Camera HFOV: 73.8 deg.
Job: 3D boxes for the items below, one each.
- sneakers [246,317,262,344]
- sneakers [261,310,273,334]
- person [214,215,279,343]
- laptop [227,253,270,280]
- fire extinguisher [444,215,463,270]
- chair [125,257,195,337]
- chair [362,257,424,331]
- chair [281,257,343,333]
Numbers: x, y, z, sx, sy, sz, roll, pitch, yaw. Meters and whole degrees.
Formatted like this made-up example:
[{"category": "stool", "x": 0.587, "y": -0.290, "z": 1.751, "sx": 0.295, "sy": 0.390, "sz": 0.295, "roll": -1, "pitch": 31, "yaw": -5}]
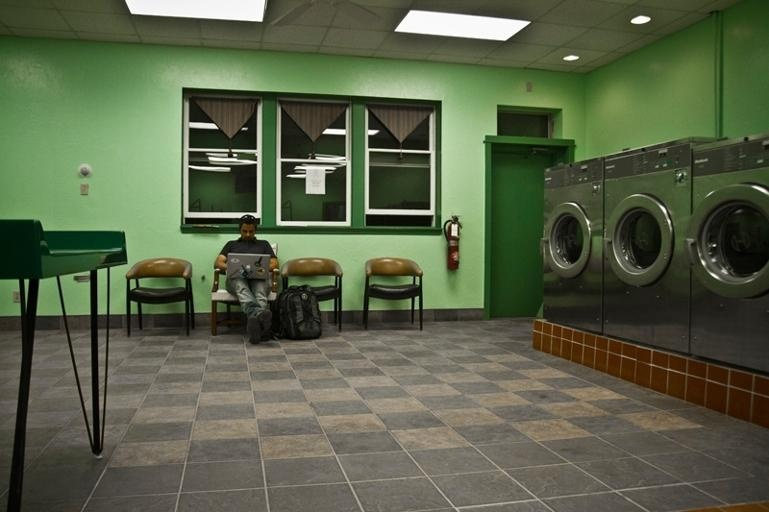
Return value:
[{"category": "sneakers", "x": -1.549, "y": 0.876, "z": 6.070, "sx": 0.168, "sy": 0.304, "sz": 0.124, "roll": 2, "pitch": 3, "yaw": -3}, {"category": "sneakers", "x": -1.438, "y": 0.776, "z": 6.084, "sx": 0.100, "sy": 0.281, "sz": 0.193, "roll": 4, "pitch": 3, "yaw": -22}, {"category": "person", "x": -1.692, "y": 0.273, "z": 6.464, "sx": 0.753, "sy": 1.061, "sz": 1.765, "roll": -1, "pitch": 19, "yaw": -16}, {"category": "laptop", "x": -1.708, "y": 0.142, "z": 6.400, "sx": 0.484, "sy": 0.319, "sz": 0.336, "roll": 2, "pitch": 13, "yaw": -11}, {"category": "fire extinguisher", "x": 1.023, "y": -0.183, "z": 7.683, "sx": 0.309, "sy": 0.820, "sz": 0.196, "roll": -1, "pitch": 7, "yaw": -11}, {"category": "chair", "x": -2.884, "y": 0.507, "z": 6.643, "sx": 0.774, "sy": 0.895, "sz": 0.625, "roll": 0, "pitch": 4, "yaw": -13}, {"category": "chair", "x": 0.086, "y": 0.493, "z": 7.052, "sx": 0.829, "sy": 0.911, "sz": 0.687, "roll": 1, "pitch": 1, "yaw": -14}, {"category": "chair", "x": -0.987, "y": 0.515, "z": 6.944, "sx": 0.800, "sy": 0.924, "sz": 0.632, "roll": 0, "pitch": 2, "yaw": -11}]
